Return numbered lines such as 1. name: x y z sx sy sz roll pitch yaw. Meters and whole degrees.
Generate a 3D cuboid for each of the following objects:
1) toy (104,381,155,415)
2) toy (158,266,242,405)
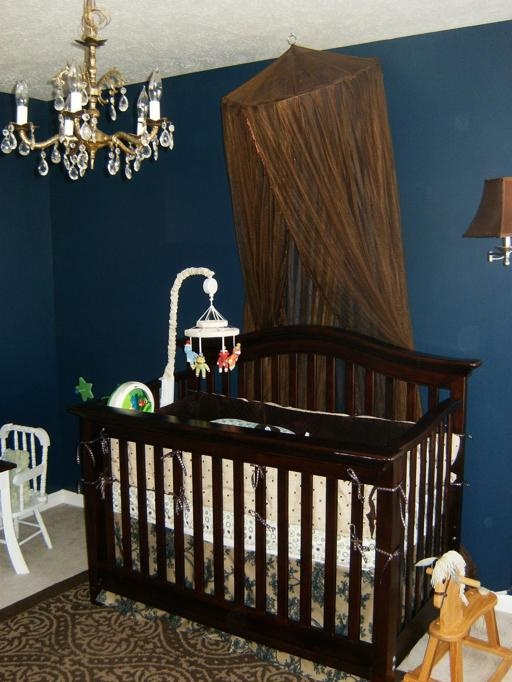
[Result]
1. toy: -0.457 0.206 2.635 0.037 0.142 0.129 5 3 32
2. toy: -0.234 -0.004 2.902 0.329 0.562 0.196 0 10 10
